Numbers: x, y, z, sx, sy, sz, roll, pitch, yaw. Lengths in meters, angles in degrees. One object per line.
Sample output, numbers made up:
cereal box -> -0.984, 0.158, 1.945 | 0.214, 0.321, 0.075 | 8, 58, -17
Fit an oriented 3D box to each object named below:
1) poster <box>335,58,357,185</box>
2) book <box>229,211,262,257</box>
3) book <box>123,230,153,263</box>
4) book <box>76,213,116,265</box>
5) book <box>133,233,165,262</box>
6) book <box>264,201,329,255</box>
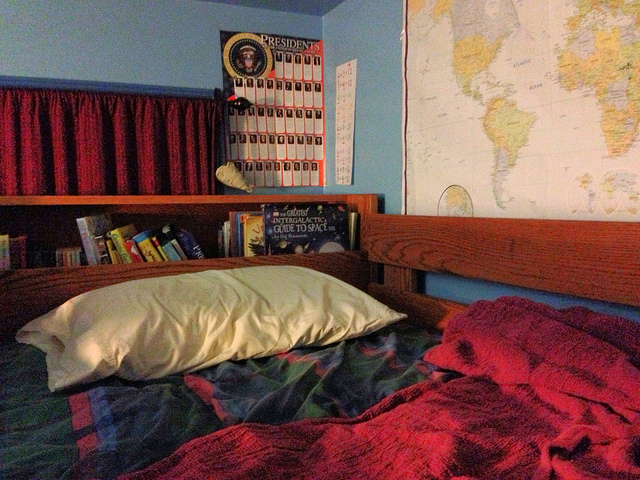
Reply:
poster -> 0.146, -0.691, 2.526 | 0.095, 0.713, 0.219 | -8, 10, -22
book -> -0.415, -0.045, 2.151 | 0.051, 0.215, 0.193 | 2, 1, -17
book -> -0.813, 0.041, 1.886 | 0.065, 0.119, 0.121 | -22, 7, -4
book -> -1.016, 0.006, 1.918 | 0.112, 0.225, 0.243 | 2, 9, -15
book -> -0.816, 0.040, 1.939 | 0.058, 0.139, 0.142 | -18, 13, -40
book -> -0.117, -0.052, 2.095 | 0.334, 0.252, 0.077 | -5, 9, -9
